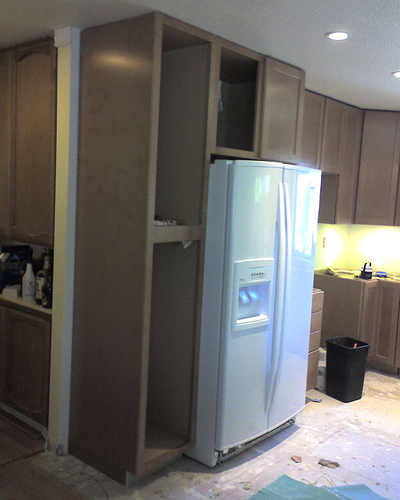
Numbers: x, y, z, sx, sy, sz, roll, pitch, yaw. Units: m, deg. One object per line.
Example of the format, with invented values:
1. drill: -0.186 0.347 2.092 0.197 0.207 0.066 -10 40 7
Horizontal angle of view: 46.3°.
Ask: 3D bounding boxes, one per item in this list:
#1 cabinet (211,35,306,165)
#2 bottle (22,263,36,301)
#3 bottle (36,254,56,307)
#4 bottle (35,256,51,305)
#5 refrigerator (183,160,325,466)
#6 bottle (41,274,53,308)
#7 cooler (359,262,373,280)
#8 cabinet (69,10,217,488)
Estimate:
1. cabinet: 0.378 -0.810 2.795 0.491 0.481 0.298 3 31 -8
2. bottle: -0.991 0.188 2.705 0.083 0.209 0.061 6 6 36
3. bottle: -0.856 0.173 2.608 0.088 0.319 0.106 17 22 15
4. bottle: -0.878 0.160 2.625 0.087 0.288 0.090 9 6 -1
5. refrigerator: 0.296 0.322 2.570 0.839 1.581 0.256 -2 7 -44
6. bottle: -0.808 0.229 2.506 0.053 0.175 0.172 0 6 -29
7. cooler: 1.450 0.181 4.067 0.118 0.128 0.081 -17 25 -39
8. cabinet: -0.292 0.028 2.343 0.579 2.142 0.473 7 7 41
